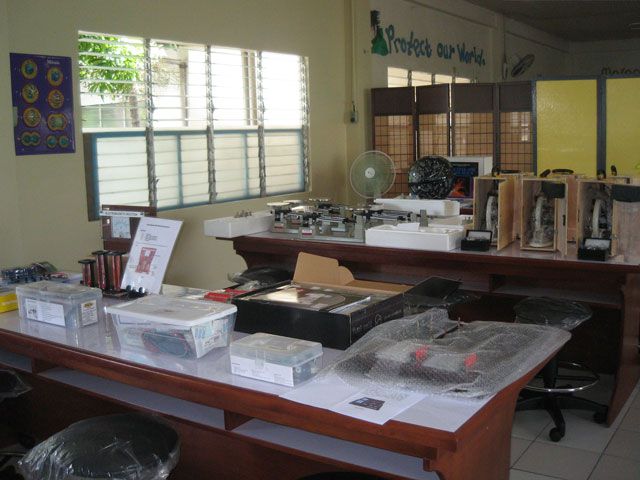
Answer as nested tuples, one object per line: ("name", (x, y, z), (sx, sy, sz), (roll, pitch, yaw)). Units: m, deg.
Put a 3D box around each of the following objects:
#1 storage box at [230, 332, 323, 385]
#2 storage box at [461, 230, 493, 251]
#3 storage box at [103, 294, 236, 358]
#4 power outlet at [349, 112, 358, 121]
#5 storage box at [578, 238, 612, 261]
("storage box", (-0.147, 0.406, 1.569), (0.271, 0.111, 0.160), (1, 5, 32))
("storage box", (1.184, -0.004, 3.502), (0.188, 0.131, 0.176), (3, 7, 32))
("storage box", (-0.576, 0.295, 1.793), (0.352, 0.110, 0.250), (4, 8, 28))
("power outlet", (0.566, -2.078, 7.790), (0.137, 0.128, 0.242), (-1, 8, 7))
("storage box", (1.837, 0.043, 3.136), (0.173, 0.122, 0.163), (5, 10, 42))
